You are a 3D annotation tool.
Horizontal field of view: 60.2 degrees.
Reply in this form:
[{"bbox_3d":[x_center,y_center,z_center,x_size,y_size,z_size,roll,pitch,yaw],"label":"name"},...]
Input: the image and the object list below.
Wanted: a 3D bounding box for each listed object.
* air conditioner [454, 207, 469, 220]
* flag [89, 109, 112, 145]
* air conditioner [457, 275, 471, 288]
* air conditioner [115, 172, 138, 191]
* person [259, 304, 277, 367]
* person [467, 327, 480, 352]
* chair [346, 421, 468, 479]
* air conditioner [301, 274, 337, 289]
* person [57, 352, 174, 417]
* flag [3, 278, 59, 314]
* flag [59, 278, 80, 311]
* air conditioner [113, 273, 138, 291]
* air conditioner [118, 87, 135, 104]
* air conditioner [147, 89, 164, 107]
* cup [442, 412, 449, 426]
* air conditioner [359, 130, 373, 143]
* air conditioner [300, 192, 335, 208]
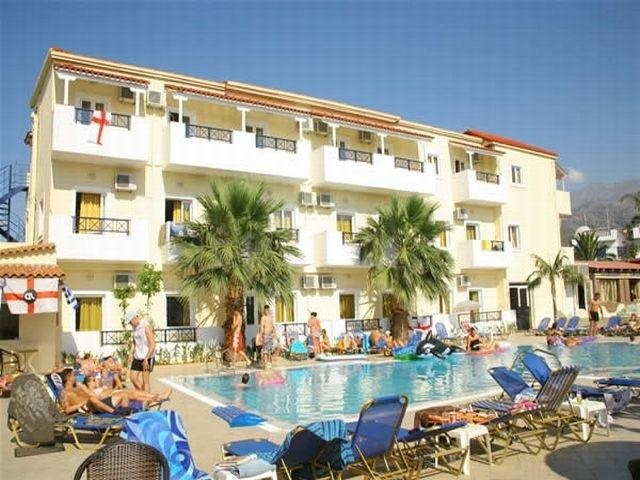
[{"bbox_3d":[7.789,-1.427,30.620,0.938,0.983,0.541,3,-5,-42],"label":"air conditioner"},{"bbox_3d":[-7.981,-4.078,20.054,0.640,1.210,0.290,1,-6,-26],"label":"flag"},{"bbox_3d":[7.815,2.182,29.939,0.826,0.715,0.560,4,-8,-41],"label":"air conditioner"},{"bbox_3d":[-7.507,-2.257,21.223,0.582,0.604,0.275,6,-17,-33],"label":"air conditioner"},{"bbox_3d":[-1.769,3.228,18.660,0.516,2.051,0.685,0,-6,-13],"label":"person"},{"bbox_3d":[6.114,3.935,21.985,0.505,0.919,0.784,-3,-6,15],"label":"person"},{"bbox_3d":[1.459,3.203,8.431,0.853,0.652,1.608,3,-6,-34],"label":"chair"},{"bbox_3d":[-0.057,1.879,25.228,1.806,0.698,0.605,4,-8,-39],"label":"air conditioner"},{"bbox_3d":[-3.952,2.731,10.460,1.853,0.924,0.926,3,-12,-3],"label":"person"},{"bbox_3d":[-8.224,1.543,15.676,0.943,0.766,0.077,1,-5,-36],"label":"flag"},{"bbox_3d":[-8.367,1.749,18.434,0.582,1.053,3.946,1,-8,-24],"label":"flag"},{"bbox_3d":[-7.339,1.474,20.730,0.955,1.011,0.540,4,-11,-31],"label":"air conditioner"},{"bbox_3d":[-7.667,-5.747,21.881,0.566,0.468,0.395,1,-7,-25],"label":"air conditioner"},{"bbox_3d":[-6.658,-5.679,22.165,0.717,0.785,0.336,2,-5,-40],"label":"air conditioner"},{"bbox_3d":[1.968,2.761,8.600,0.088,0.150,0.103,-2,-13,8],"label":"cup"},{"bbox_3d":[2.336,-5.138,28.088,0.710,0.739,0.375,2,-5,-39],"label":"air conditioner"},{"bbox_3d":[-0.205,-1.917,25.744,1.800,0.726,0.463,3,-7,-35],"label":"air conditioner"}]
